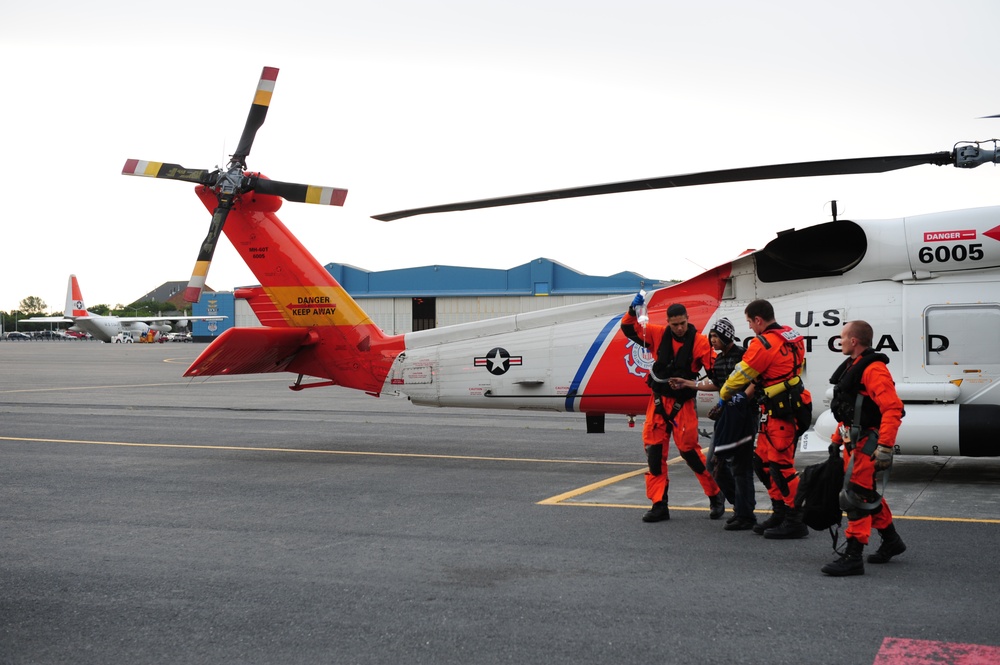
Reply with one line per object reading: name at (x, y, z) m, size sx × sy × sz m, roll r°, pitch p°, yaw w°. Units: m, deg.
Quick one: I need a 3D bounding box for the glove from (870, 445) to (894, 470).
glove at (3.607, 1.135, 7.762) m, size 0.239 × 0.187 × 0.258 m, roll -2°, pitch 0°, yaw 7°

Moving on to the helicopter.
helicopter at (1.141, -0.077, 13.326) m, size 11.337 × 2.712 × 8.848 m, roll -1°, pitch 3°, yaw 12°

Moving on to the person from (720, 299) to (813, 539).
person at (2.867, 0.917, 8.973) m, size 0.839 × 2.515 × 0.515 m, roll -1°, pitch 4°, yaw 13°

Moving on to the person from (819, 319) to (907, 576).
person at (3.411, 1.055, 7.849) m, size 0.667 × 2.310 × 0.783 m, roll 0°, pitch 4°, yaw 23°

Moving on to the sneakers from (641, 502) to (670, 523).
sneakers at (1.772, 2.055, 9.534) m, size 0.152 × 0.139 × 0.436 m, roll -12°, pitch -19°, yaw 41°
